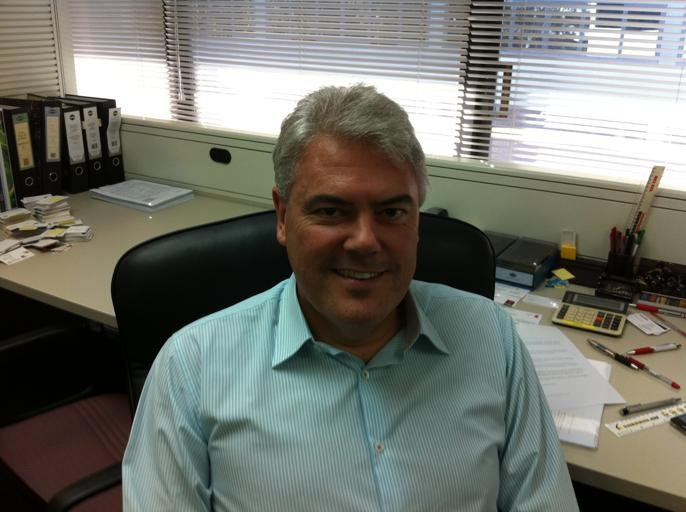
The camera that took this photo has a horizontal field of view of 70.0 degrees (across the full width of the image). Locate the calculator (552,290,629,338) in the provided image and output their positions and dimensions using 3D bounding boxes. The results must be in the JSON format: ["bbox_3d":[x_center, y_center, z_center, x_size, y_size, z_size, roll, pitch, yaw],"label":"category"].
[{"bbox_3d":[0.810,0.190,1.595,0.212,0.035,0.182,14,37,44],"label":"calculator"}]

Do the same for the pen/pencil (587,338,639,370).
[{"bbox_3d":[0.780,0.290,1.423,0.016,0.018,0.123,-14,26,-17],"label":"pen/pencil"}]
